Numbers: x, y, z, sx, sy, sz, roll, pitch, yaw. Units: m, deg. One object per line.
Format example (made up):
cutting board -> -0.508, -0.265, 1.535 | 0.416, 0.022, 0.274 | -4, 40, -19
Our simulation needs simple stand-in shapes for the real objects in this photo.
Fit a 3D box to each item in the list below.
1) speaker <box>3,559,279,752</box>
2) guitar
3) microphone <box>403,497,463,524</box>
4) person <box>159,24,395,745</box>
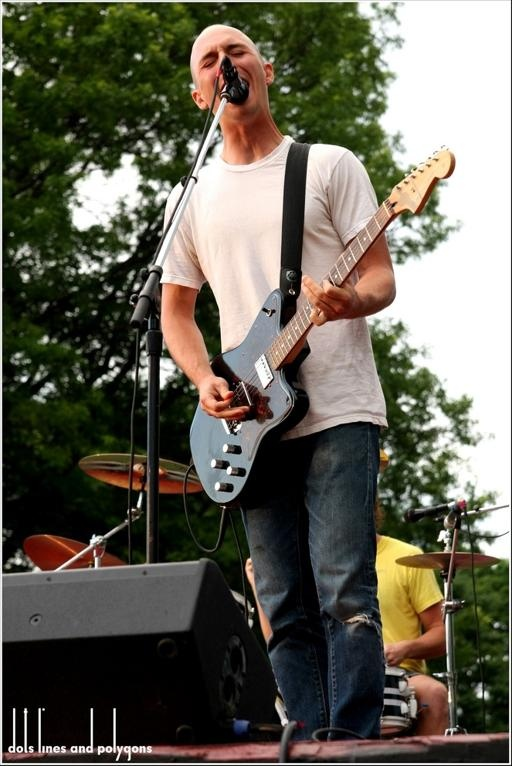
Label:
speaker -> -0.380, 0.953, 5.241 | 0.819, 0.561, 0.648 | -10, -11, 17
guitar -> 0.169, -0.191, 5.351 | 0.220, 0.530, 1.560 | 6, -42, -30
microphone -> 0.842, 0.654, 7.840 | 0.106, 0.118, 0.426 | 1, -10, -45
person -> 0.131, 0.042, 5.393 | 0.948, 2.626, 0.738 | -18, -16, 40
